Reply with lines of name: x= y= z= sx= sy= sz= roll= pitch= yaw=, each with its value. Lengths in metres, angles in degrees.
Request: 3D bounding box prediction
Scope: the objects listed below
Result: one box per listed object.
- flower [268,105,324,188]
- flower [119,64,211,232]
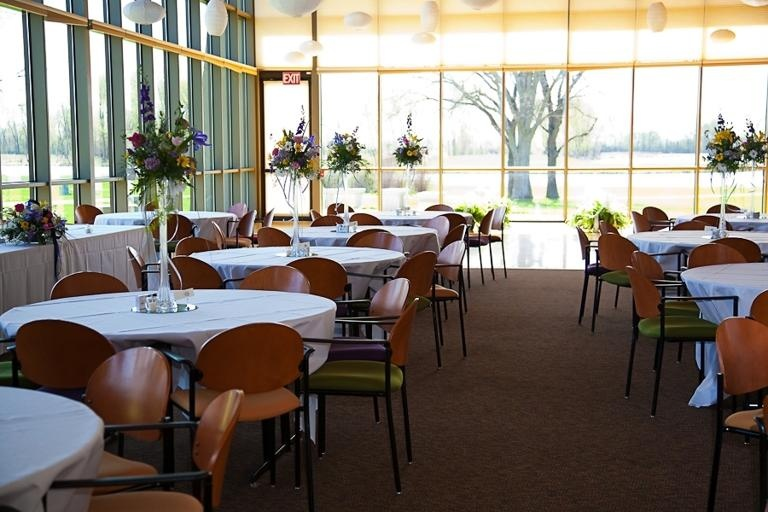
flower: x=-0.847 y=-1.003 z=5.874 sx=0.478 sy=0.747 sz=0.928 roll=-3 pitch=13 yaw=-7
flower: x=-1.380 y=-0.685 z=3.941 sx=0.526 sy=0.899 sz=0.585 roll=-7 pitch=14 yaw=-22
